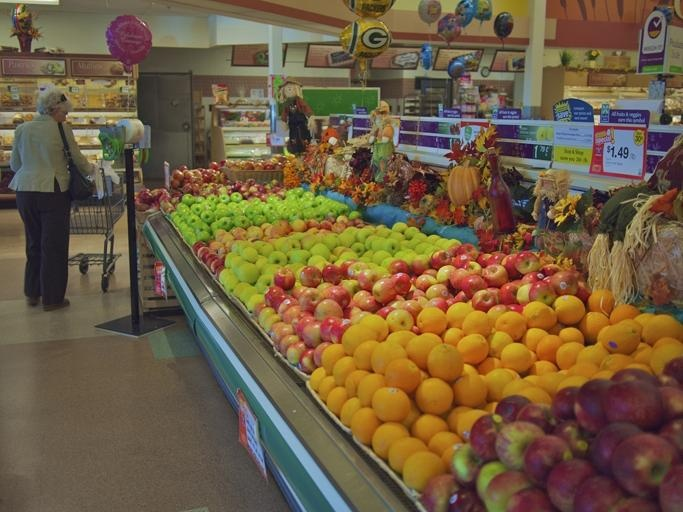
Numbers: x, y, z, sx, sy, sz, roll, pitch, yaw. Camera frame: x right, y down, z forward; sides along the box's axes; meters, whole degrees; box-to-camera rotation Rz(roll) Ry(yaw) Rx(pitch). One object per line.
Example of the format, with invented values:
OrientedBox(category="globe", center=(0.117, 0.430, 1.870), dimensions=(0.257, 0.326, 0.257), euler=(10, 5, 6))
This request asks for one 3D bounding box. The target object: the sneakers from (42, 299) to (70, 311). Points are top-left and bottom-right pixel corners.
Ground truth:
OrientedBox(category="sneakers", center=(-3.019, 0.510, 5.097), dimensions=(0.249, 0.109, 0.082), euler=(-18, 25, -38))

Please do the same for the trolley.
OrientedBox(category="trolley", center=(-3.215, -0.331, 6.017), dimensions=(0.740, 1.390, 1.006), euler=(8, -12, -40))

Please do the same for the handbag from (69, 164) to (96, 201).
OrientedBox(category="handbag", center=(-2.673, -0.768, 4.938), dimensions=(0.174, 0.380, 0.370), euler=(0, 10, 7))
